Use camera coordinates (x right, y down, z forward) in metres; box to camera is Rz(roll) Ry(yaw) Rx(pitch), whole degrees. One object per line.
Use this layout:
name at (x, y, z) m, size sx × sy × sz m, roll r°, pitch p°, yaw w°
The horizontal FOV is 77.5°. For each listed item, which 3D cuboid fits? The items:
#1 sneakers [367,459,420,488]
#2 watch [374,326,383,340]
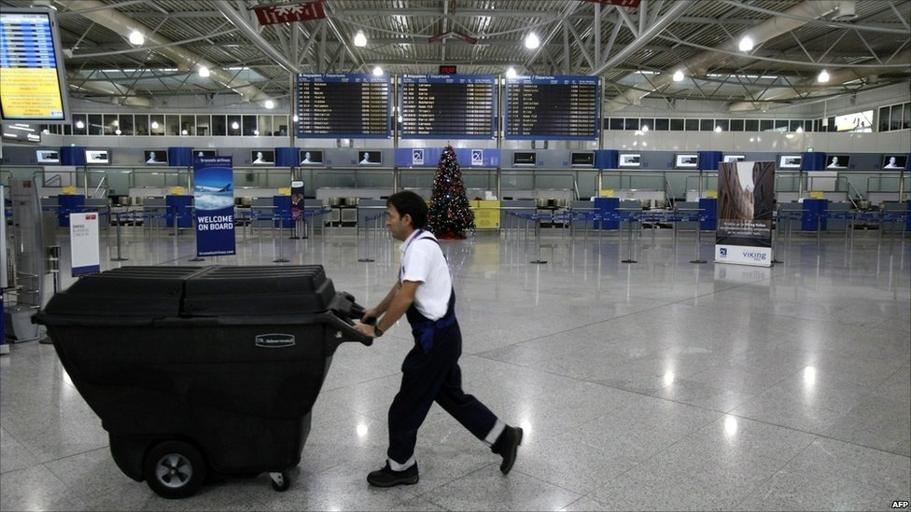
sneakers at (-0.560, 2.069, 5.394) m, size 0.539 × 0.240 × 0.194 m, roll 3°, pitch -3°, yaw -5°
watch at (-0.679, 0.691, 5.081) m, size 0.084 × 0.057 × 0.109 m, roll 9°, pitch -16°, yaw -1°
